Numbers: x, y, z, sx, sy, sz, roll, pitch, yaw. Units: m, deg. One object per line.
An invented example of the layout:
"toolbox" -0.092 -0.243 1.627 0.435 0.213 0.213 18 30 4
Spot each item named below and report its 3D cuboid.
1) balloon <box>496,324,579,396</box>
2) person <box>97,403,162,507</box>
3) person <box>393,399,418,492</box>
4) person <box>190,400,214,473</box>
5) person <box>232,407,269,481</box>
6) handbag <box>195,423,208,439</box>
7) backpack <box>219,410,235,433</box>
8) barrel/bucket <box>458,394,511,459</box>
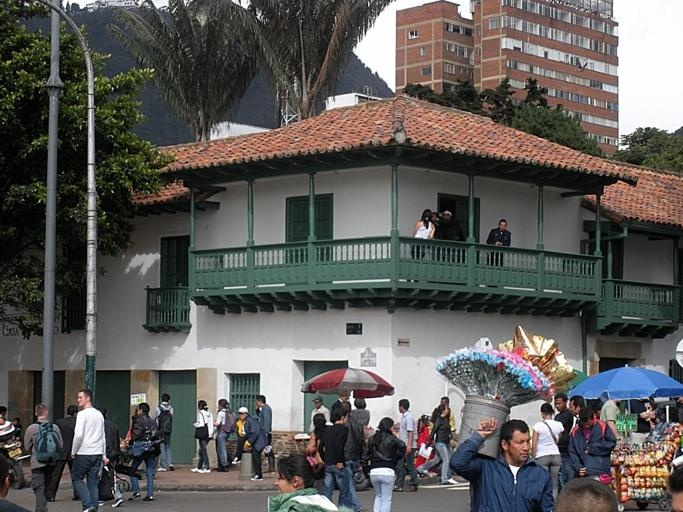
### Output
"balloon" 4.498 2.357 39.048 1.399 0.780 1.557 33 -10 0
"person" -5.807 5.507 47.969 1.049 3.191 1.171 1 -4 -13
"person" 1.843 5.500 49.503 0.537 2.457 0.683 2 -2 -44
"person" -4.324 5.622 53.176 0.651 2.159 0.572 2 -2 37
"person" -2.658 5.616 51.137 0.918 2.194 0.872 -4 -1 -10
"handbag" -4.284 5.416 52.886 0.393 0.508 0.191 1 -6 3
"backpack" -3.569 5.156 53.143 0.436 0.852 0.714 -5 -15 17
"barrel/bucket" 3.029 3.955 38.184 1.144 1.297 1.220 10 -16 3
